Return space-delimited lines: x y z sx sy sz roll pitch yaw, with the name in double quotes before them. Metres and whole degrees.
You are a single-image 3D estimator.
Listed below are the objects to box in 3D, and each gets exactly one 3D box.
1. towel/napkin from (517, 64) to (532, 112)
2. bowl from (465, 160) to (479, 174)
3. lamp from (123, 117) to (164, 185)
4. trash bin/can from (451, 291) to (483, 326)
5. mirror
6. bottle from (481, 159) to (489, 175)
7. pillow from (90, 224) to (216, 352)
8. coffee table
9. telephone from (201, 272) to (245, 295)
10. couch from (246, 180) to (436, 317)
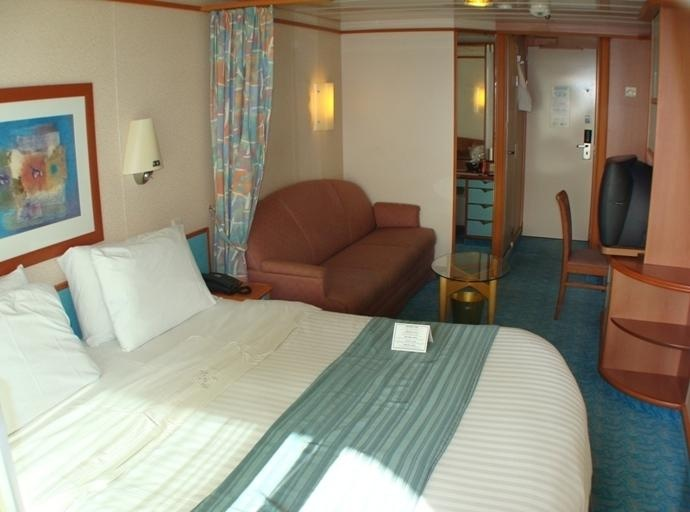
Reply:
"towel/napkin" 2.424 -2.263 6.850 0.179 0.634 0.724 5 18 24
"bowl" 1.847 -1.261 7.263 0.248 0.175 0.139 14 40 37
"lamp" -1.418 -0.757 3.512 0.259 0.356 0.151 -8 17 -20
"trash bin/can" 1.182 0.473 4.797 0.319 0.233 0.282 -5 9 -43
"mirror" 1.845 -2.097 7.205 0.509 1.710 0.192 3 17 18
"bottle" 1.984 -1.247 7.147 0.146 0.193 0.114 -2 16 -1
"pillow" -1.244 0.193 3.257 0.210 0.660 0.772 -25 4 31
"coffee table" 1.175 0.167 4.867 0.687 0.511 0.700 3 23 11
"telephone" -0.939 0.211 3.981 0.236 0.076 0.195 16 15 9
"couch" -0.059 -0.052 4.931 0.702 0.690 1.338 10 25 25
